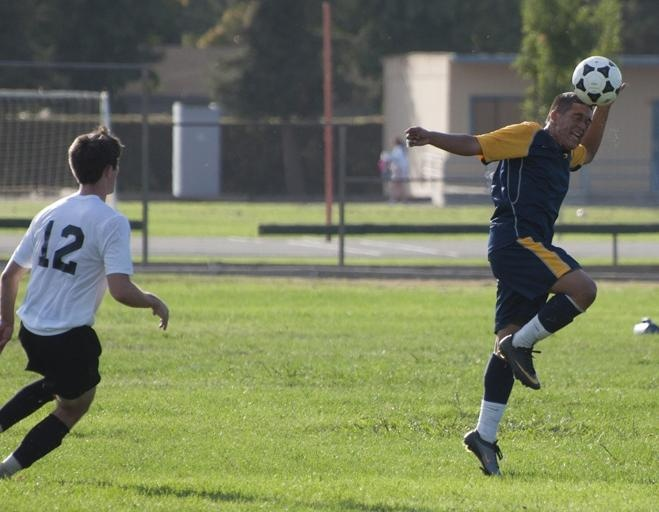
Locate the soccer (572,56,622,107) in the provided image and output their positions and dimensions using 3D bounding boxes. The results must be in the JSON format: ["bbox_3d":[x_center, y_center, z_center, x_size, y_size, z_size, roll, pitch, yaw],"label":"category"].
[{"bbox_3d":[2.522,-1.631,15.812,0.471,0.471,0.447,4,5,-20],"label":"soccer"}]

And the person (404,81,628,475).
[{"bbox_3d":[1.723,0.220,15.440,1.659,3.458,0.870,0,5,-7],"label":"person"}]
